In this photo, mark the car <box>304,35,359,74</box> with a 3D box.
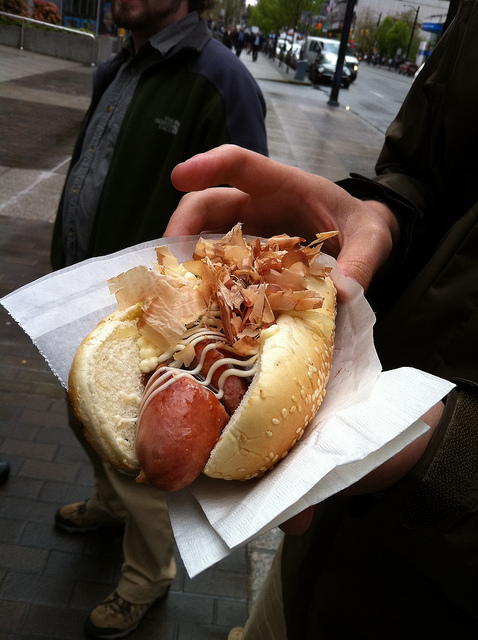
[{"bbox_3d":[5.767,-16.119,30.735,3.063,2.394,4.425,6,29,-7],"label":"car"}]

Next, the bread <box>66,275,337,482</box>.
[{"bbox_3d":[-0.086,0.145,1.273,0.600,0.443,0.831,1,15,13],"label":"bread"}]

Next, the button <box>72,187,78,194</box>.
[{"bbox_3d":[-0.832,-0.655,2.523,0.031,0.027,0.009,-5,-2,9],"label":"button"}]

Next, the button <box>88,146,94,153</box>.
[{"bbox_3d":[-0.747,-0.861,2.516,0.024,0.027,0.008,7,-6,7],"label":"button"}]

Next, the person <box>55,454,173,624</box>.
[{"bbox_3d":[-0.564,1.041,2.252,0.369,1.071,0.528,-21,75,-32],"label":"person"}]

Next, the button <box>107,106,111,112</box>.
[{"bbox_3d":[-0.652,-1.059,2.495,0.017,0.013,0.031,-4,71,3],"label":"button"}]

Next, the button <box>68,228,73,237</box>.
[{"bbox_3d":[-0.877,-0.454,2.585,0.028,0.039,0.009,21,32,13],"label":"button"}]
